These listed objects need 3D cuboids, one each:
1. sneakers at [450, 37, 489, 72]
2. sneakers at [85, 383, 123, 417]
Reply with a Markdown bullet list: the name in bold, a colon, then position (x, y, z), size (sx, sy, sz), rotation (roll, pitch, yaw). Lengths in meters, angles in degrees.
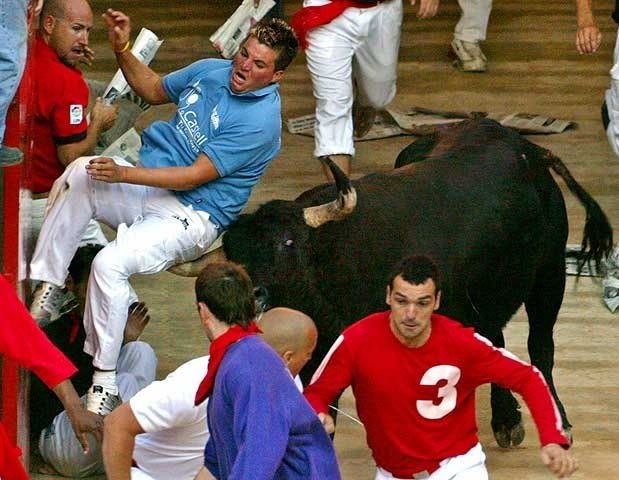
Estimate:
- **sneakers**: position (0.981, -1.135, 7.471), size (0.143, 0.124, 0.263), rotation (-17, 53, -24)
- **sneakers**: position (-0.893, 0.692, 5.223), size (0.151, 0.116, 0.126), rotation (-10, 16, -10)
